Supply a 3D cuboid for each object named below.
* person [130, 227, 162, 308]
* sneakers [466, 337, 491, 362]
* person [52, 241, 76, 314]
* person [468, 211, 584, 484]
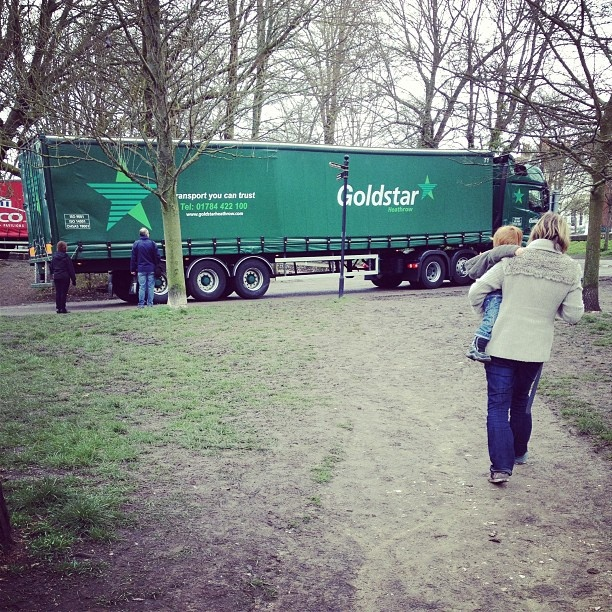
[{"bbox_3d":[-3.216,-0.774,16.294,0.583,1.562,0.374,-1,11,-13],"label":"person"},{"bbox_3d":[1.432,0.354,6.665,0.216,0.229,0.146,12,0,14],"label":"sneakers"},{"bbox_3d":[-4.669,-0.545,15.566,0.429,1.418,1.179,-2,12,-17],"label":"person"},{"bbox_3d":[1.781,0.339,6.644,0.799,2.175,0.558,-2,11,-17],"label":"person"}]
